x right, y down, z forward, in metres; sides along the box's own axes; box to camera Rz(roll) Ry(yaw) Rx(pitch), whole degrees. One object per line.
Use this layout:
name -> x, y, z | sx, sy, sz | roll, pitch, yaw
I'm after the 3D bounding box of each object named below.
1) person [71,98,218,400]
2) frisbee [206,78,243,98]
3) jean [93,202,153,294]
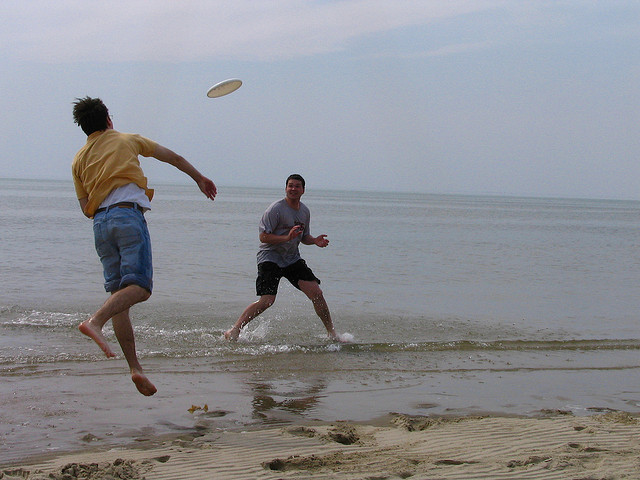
person -> -2.071, 0.181, 9.929 | 1.220, 3.426, 1.416 | 0, 14, -13
frisbee -> -1.332, -2.115, 12.675 | 0.369, 0.225, 0.240 | -5, 14, -31
jean -> -2.145, 0.104, 9.856 | 0.602, 1.008, 0.442 | 0, 14, -11
